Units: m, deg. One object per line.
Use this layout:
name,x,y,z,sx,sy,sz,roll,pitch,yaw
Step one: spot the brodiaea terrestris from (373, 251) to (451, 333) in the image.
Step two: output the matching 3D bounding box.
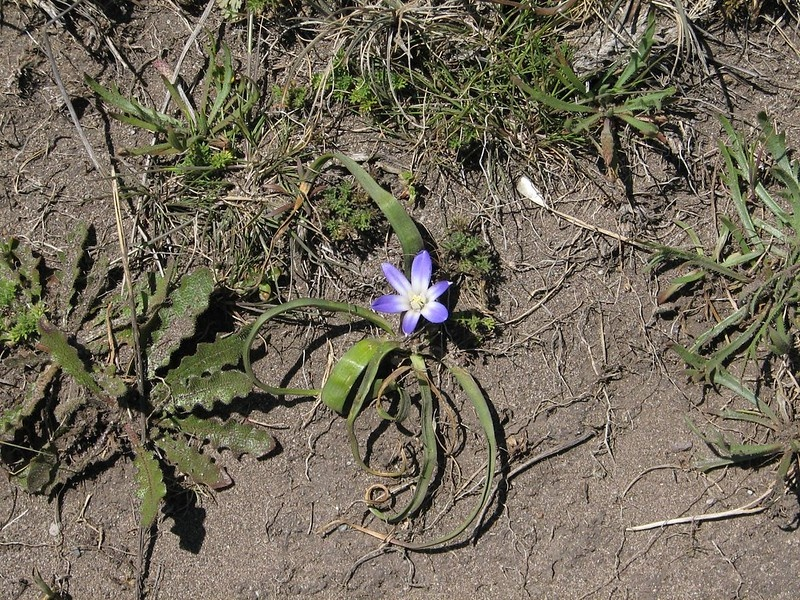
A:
brodiaea terrestris,0.030,-0.020,2.903,0.286,0.243,0.288,-9,33,-7
